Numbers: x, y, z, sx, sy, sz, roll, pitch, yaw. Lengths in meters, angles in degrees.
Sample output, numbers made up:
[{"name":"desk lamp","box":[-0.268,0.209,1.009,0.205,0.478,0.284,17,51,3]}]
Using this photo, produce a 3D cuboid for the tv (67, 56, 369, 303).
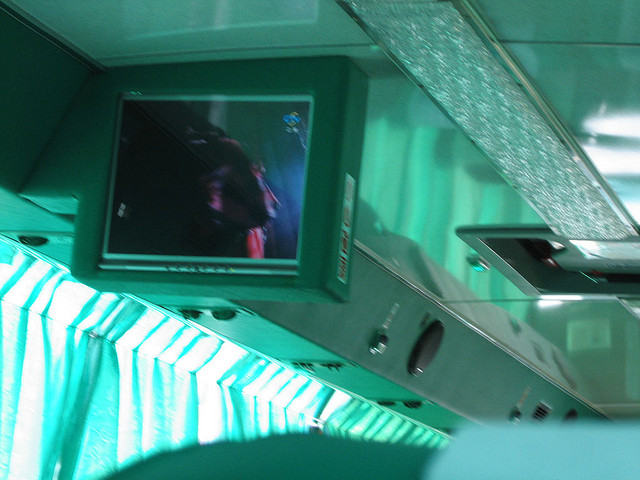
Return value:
[{"name":"tv","box":[-0.364,-0.240,2.450,1.441,0.877,0.452,6,2,35]}]

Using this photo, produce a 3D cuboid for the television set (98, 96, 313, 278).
[{"name":"television set","box":[-0.422,-0.202,2.216,1.090,0.662,0.119,3,-16,13]}]
